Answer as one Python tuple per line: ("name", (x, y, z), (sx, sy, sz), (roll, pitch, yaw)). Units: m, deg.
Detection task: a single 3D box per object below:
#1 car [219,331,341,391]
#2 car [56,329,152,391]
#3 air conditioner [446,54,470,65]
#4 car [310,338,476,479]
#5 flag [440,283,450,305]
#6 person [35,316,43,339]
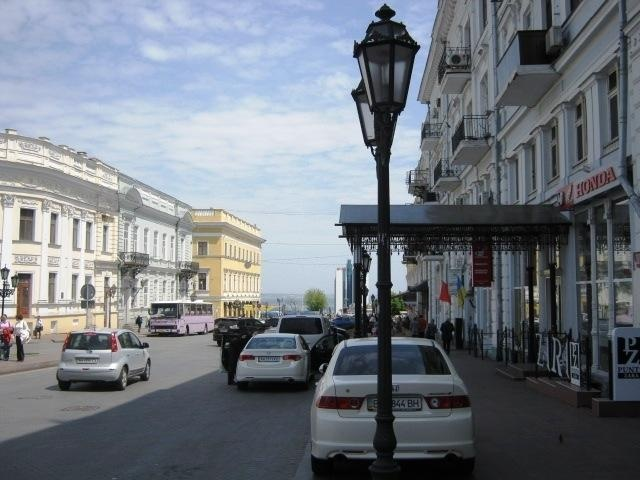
("car", (-1.198, 3.433, 19.228), (2.391, 1.146, 3.176), (0, -3, 5))
("car", (-6.342, 3.556, 20.527), (1.648, 1.770, 2.530), (-4, -10, 22))
("air conditioner", (6.873, -8.880, 33.750), (0.866, 0.625, 0.462), (0, -1, 2))
("car", (1.263, 2.654, 11.741), (1.592, 1.318, 3.059), (-1, -3, 3))
("flag", (6.904, 2.796, 37.578), (0.465, 1.191, 3.091), (-2, -10, 12))
("person", (-17.978, 5.569, 43.709), (0.438, 1.450, 1.300), (3, -10, -25))
